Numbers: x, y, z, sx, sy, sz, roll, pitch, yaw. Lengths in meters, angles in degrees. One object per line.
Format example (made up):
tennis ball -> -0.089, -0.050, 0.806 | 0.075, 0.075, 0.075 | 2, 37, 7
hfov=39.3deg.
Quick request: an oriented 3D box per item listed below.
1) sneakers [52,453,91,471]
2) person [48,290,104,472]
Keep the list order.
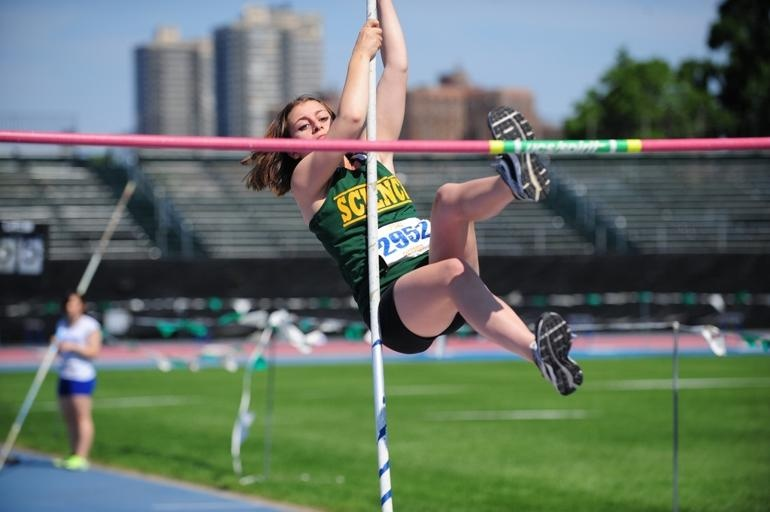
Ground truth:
sneakers -> -3.122, 1.997, 10.486 | 0.367, 0.137, 0.133 | 7, -4, 5
person -> -3.101, 1.223, 10.676 | 0.525, 1.534, 0.925 | -5, 14, -13
